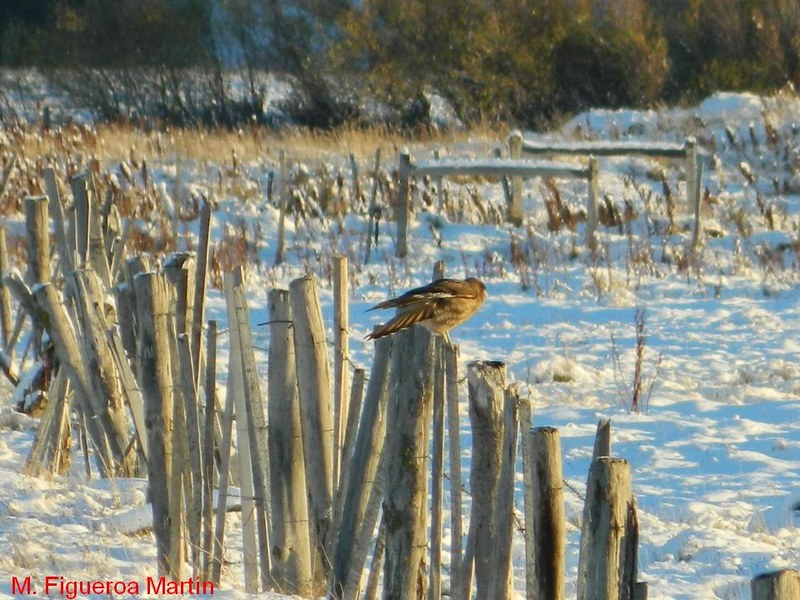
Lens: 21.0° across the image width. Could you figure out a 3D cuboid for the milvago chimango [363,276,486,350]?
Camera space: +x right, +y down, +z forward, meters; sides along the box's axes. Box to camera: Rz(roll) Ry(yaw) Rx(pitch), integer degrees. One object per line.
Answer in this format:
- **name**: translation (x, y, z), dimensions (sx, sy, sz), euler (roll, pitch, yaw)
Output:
- **milvago chimango**: translation (0.784, 0.247, 46.354), dimensions (2.745, 1.636, 0.965), euler (4, -9, -26)
